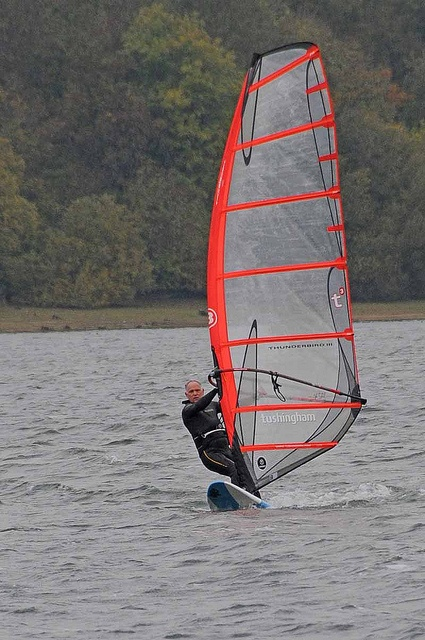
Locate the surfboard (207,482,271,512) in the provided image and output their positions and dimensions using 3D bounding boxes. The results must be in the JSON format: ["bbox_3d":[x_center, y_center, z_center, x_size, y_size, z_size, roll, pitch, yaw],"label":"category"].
[{"bbox_3d":[0.240,1.607,9.901,0.529,0.281,0.116,30,37,8],"label":"surfboard"}]
